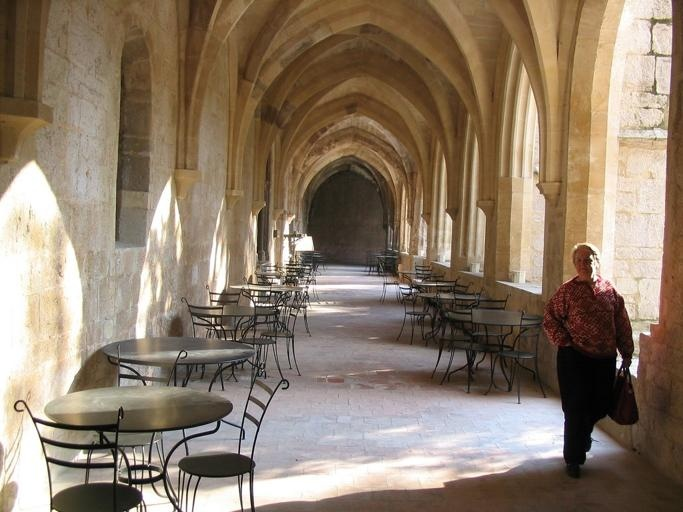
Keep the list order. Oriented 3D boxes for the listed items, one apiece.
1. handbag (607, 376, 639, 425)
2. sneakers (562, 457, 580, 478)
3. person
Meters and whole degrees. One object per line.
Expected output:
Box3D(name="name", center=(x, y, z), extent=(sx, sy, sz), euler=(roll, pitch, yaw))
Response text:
Box3D(name="handbag", center=(2.247, 1.143, 4.711), extent=(0.193, 0.410, 0.168), euler=(0, 3, -8))
Box3D(name="sneakers", center=(1.851, 1.710, 4.722), extent=(0.107, 0.106, 0.102), euler=(2, 4, 20))
Box3D(name="person", center=(1.998, 0.833, 4.818), extent=(0.683, 1.836, 0.422), euler=(2, 4, 20))
